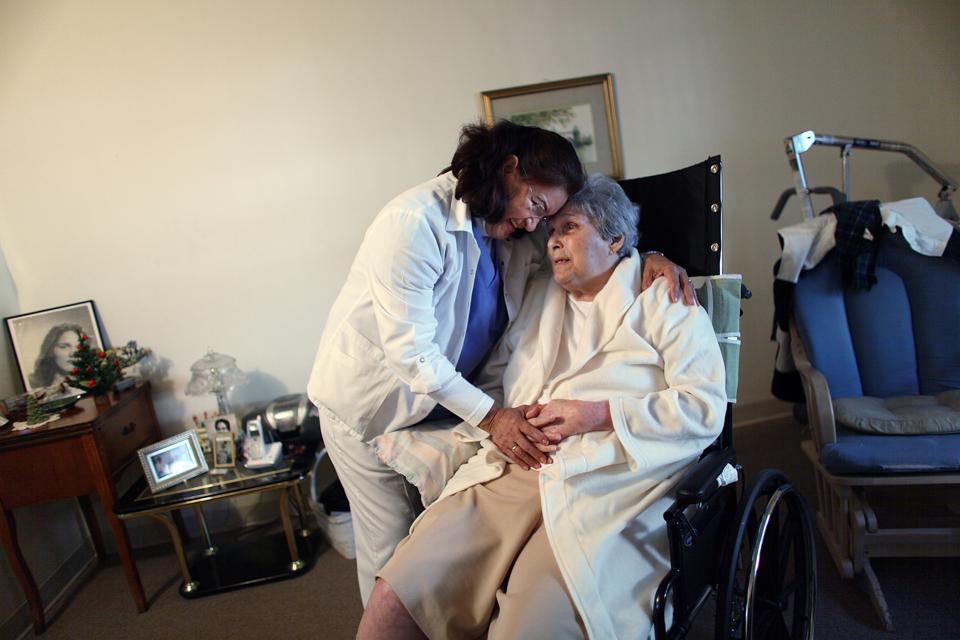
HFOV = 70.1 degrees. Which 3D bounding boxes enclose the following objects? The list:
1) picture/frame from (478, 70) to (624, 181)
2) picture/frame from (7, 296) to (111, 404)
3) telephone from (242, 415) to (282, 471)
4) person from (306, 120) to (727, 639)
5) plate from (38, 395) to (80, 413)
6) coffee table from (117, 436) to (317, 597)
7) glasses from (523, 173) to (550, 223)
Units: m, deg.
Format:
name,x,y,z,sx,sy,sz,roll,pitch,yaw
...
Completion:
name,x,y,z,sx,sy,sz,roll,pitch,yaw
picture/frame,0.323,-0.974,3.293,0.744,0.664,0.064,-9,11,-1
picture/frame,-2.224,0.174,3.585,0.442,0.422,0.034,-13,13,-6
telephone,-1.113,0.607,3.461,0.151,0.245,0.209,-6,8,10
person,-0.122,0.186,2.665,1.068,1.806,0.559,-9,9,-16
plate,-2.095,0.406,3.398,0.110,0.031,0.081,-9,17,-29
coffee table,-1.259,1.103,3.528,0.808,0.501,0.829,-11,5,-12
glasses,0.215,-0.459,2.569,0.035,0.123,0.089,-10,-11,7
